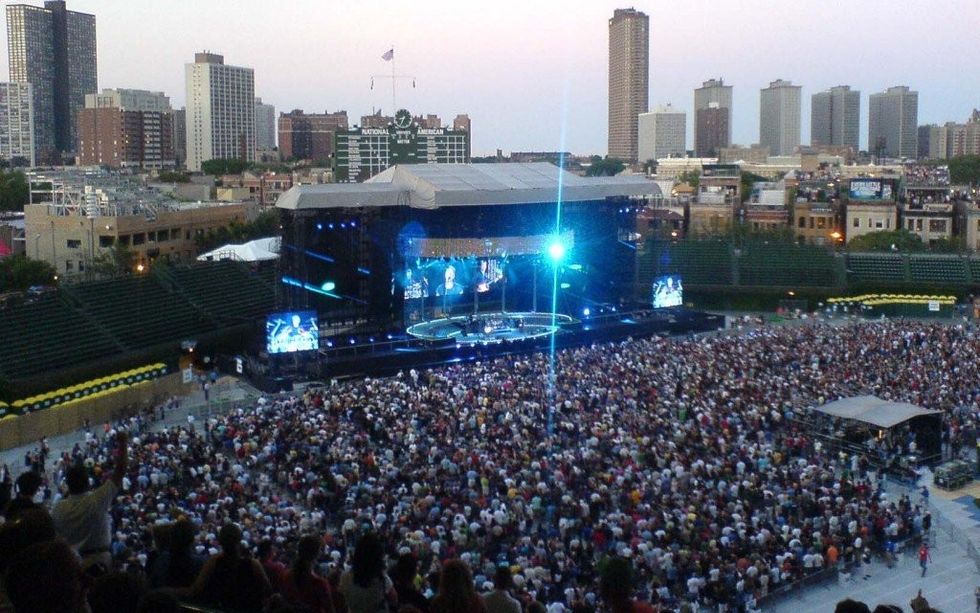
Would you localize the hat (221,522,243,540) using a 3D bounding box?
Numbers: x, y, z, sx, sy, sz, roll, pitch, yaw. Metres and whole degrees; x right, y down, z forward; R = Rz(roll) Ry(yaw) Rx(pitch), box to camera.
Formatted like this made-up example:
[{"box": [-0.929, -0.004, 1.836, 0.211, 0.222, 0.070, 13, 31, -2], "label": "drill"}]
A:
[{"box": [-16.731, 14.896, 94.334, 0.987, 1.206, 1.237, 10, -16, -14], "label": "hat"}]
